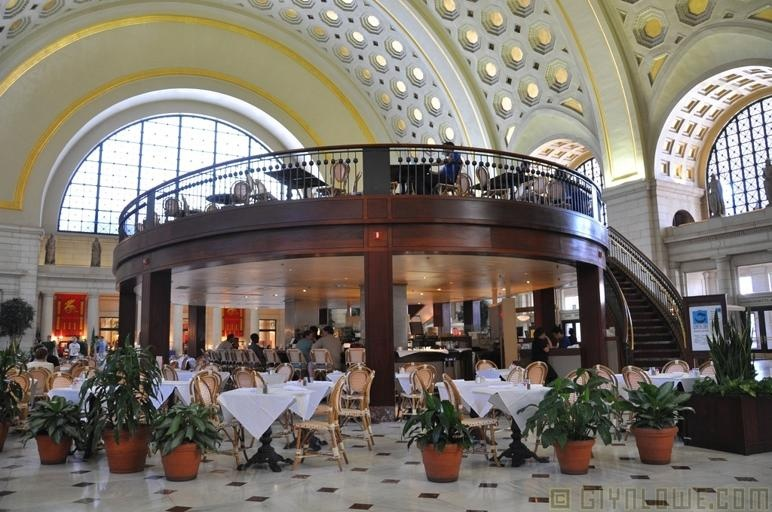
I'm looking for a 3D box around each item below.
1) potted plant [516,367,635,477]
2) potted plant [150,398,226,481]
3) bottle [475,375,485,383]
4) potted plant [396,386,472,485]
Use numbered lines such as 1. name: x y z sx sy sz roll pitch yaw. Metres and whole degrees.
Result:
1. potted plant: 2.710 2.401 8.299 1.340 1.470 0.604 -3 -12 4
2. potted plant: -3.062 2.815 8.508 0.961 0.979 0.988 -17 -22 19
3. bottle: 1.708 2.201 10.236 0.205 0.155 0.114 2 -4 -27
4. potted plant: 0.868 2.663 8.343 0.979 1.198 1.003 -6 -17 21
